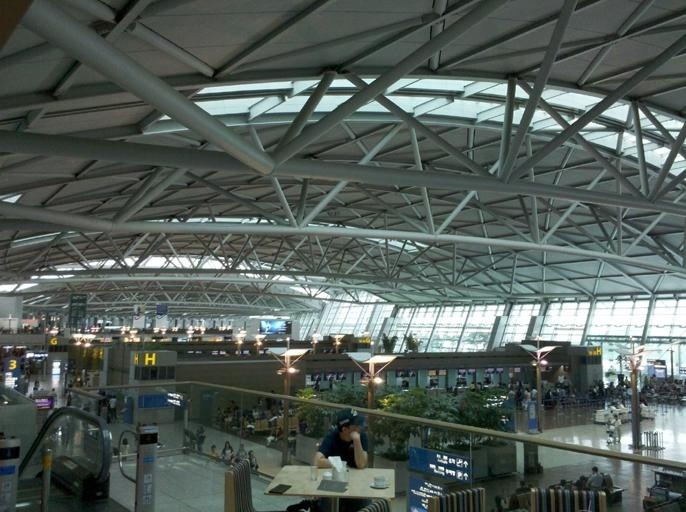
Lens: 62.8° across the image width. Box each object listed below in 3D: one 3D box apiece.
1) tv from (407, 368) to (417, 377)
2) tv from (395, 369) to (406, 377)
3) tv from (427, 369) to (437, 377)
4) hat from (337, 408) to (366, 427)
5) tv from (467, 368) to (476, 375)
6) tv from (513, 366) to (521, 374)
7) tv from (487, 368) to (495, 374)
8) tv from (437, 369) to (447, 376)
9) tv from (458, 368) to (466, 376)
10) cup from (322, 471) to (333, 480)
[{"bbox_3d":[5.105,8.632,41.108,0.207,0.499,0.773,-3,-11,44],"label":"tv"},{"bbox_3d":[4.171,8.567,40.790,0.744,0.464,0.414,1,-8,-17],"label":"tv"},{"bbox_3d":[6.693,8.826,41.923,0.789,0.462,0.177,8,-10,-28],"label":"tv"},{"bbox_3d":[0.111,2.803,9.694,0.521,0.186,0.294,2,-9,-10],"label":"hat"},{"bbox_3d":[9.890,8.914,43.323,0.887,0.494,0.095,1,-9,-3],"label":"tv"},{"bbox_3d":[14.276,9.392,45.968,0.668,0.317,0.571,-1,-7,19],"label":"tv"},{"bbox_3d":[11.657,9.111,44.214,0.731,0.450,0.145,0,13,-18],"label":"tv"},{"bbox_3d":[7.533,8.861,42.368,1.185,0.413,0.689,-1,-6,-7],"label":"tv"},{"bbox_3d":[9.150,8.925,43.254,0.935,0.556,0.250,1,-14,4],"label":"tv"},{"bbox_3d":[-0.252,3.497,8.879,0.134,0.054,0.116,3,-3,-27],"label":"cup"}]
